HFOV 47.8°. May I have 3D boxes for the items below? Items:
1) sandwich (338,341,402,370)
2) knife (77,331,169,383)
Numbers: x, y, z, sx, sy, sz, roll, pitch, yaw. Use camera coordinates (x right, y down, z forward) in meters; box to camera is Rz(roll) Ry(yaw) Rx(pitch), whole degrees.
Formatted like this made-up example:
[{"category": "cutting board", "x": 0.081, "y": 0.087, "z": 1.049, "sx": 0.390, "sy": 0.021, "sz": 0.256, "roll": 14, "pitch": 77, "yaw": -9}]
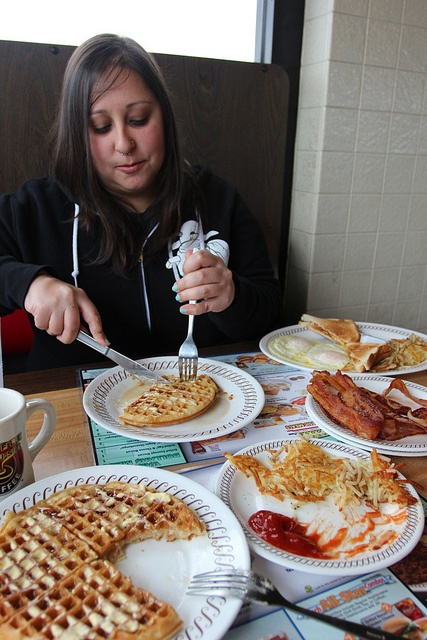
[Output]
[{"category": "sandwich", "x": 0.390, "y": 0.088, "z": 1.232, "sx": 0.076, "sy": 0.023, "sz": 0.077, "roll": 7, "pitch": 34, "yaw": 19}, {"category": "knife", "x": -0.257, "y": 0.099, "z": 1.318, "sx": 0.221, "sy": 0.032, "sz": 0.018, "roll": 36, "pitch": -12, "yaw": -25}]
